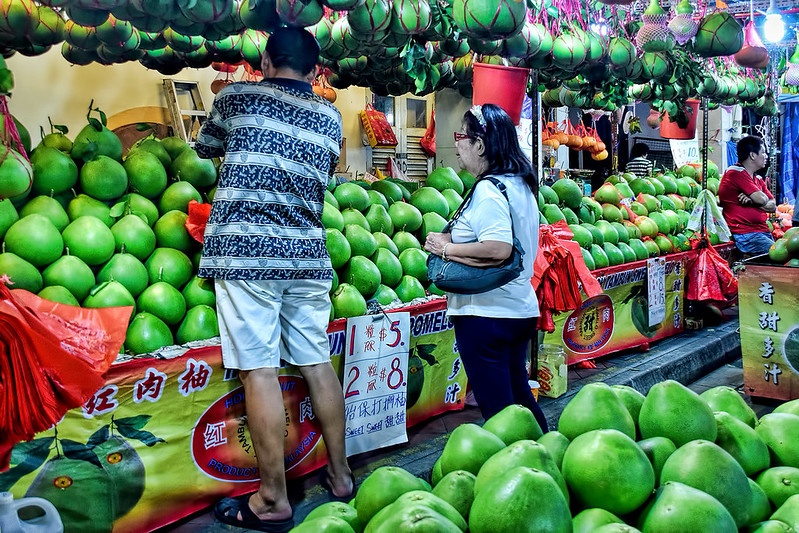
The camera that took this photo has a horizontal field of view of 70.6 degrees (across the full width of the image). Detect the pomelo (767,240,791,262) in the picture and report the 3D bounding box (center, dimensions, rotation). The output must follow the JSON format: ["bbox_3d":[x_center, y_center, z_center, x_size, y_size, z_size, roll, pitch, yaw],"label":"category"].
[{"bbox_3d":[2.940,-0.124,4.376,0.134,0.146,0.134,-12,14,-11],"label":"pomelo"}]

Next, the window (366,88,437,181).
[{"bbox_3d":[0.018,-1.566,7.446,0.796,1.565,0.069,5,40,7],"label":"window"}]

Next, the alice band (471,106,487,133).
[{"bbox_3d":[0.400,-0.776,2.914,0.044,0.124,0.091,-21,3,1],"label":"alice band"}]

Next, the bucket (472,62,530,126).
[{"bbox_3d":[0.655,-1.145,3.620,0.343,0.353,0.458,5,6,11],"label":"bucket"}]

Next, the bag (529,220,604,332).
[{"bbox_3d":[1.293,0.080,4.379,0.622,0.832,0.303,-28,17,-20],"label":"bag"}]
